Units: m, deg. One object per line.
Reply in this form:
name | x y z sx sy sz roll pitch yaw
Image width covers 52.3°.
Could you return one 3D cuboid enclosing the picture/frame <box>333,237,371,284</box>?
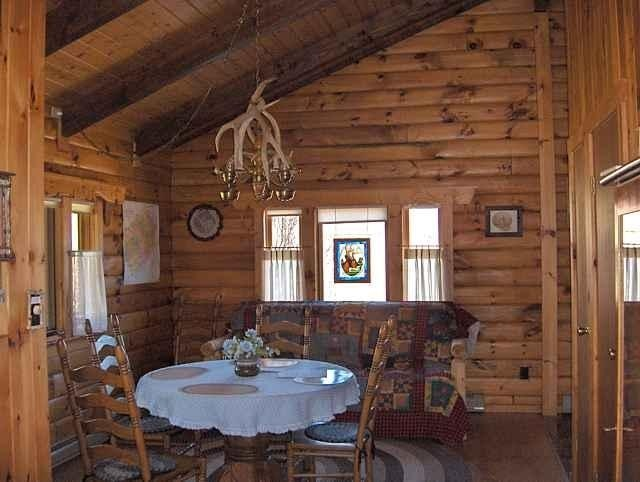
picture/frame | 0.391 0.211 7.491 0.533 0.603 0.045 0 1 14
